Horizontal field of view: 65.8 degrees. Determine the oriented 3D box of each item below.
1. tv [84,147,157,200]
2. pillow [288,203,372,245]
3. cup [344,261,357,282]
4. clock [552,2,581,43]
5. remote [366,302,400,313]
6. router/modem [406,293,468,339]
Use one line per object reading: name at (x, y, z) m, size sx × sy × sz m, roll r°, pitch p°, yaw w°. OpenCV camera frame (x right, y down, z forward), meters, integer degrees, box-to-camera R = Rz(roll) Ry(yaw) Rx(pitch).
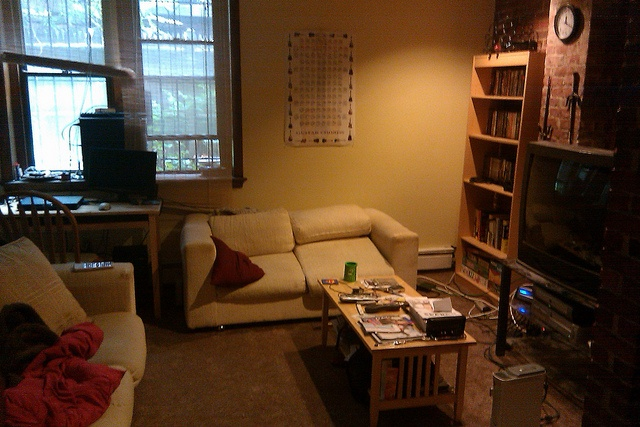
tv at (-1.727, -0.345, 4.298) m, size 0.442 × 0.319 × 0.128 m, roll 6°, pitch 0°, yaw 8°
pillow at (0.097, 0.096, 4.508) m, size 0.597 × 0.213 × 0.346 m, roll -8°, pitch 44°, yaw -8°
cup at (0.231, 0.451, 3.822) m, size 0.123 × 0.169 × 0.133 m, roll 1°, pitch 4°, yaw 0°
clock at (1.919, -1.467, 3.844) m, size 0.055 × 0.291 × 0.250 m, roll -9°, pitch 16°, yaw -15°
remote at (0.423, 0.644, 3.372) m, size 0.188 × 0.046 × 0.081 m, roll -1°, pitch 7°, yaw -14°
router/modem at (0.731, 0.660, 3.218) m, size 0.234 × 0.149 × 0.317 m, roll 0°, pitch 12°, yaw -7°
